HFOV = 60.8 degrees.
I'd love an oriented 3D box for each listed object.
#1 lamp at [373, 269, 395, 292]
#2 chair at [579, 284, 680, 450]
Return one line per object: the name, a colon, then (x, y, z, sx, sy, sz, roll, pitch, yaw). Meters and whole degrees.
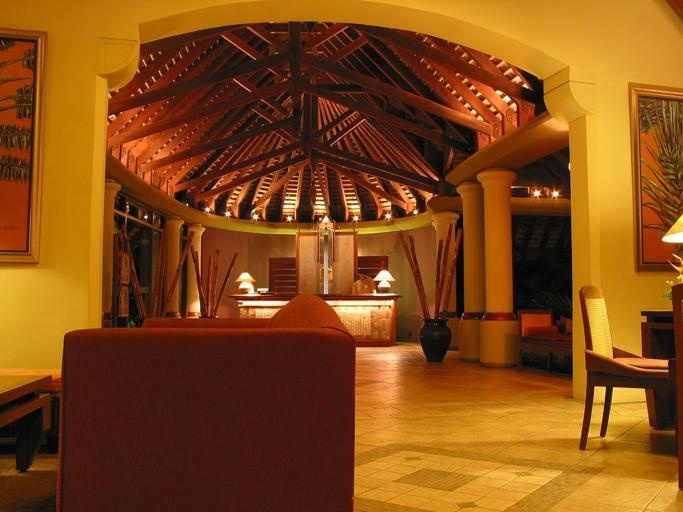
lamp: (0.974, 0.532, 12.547, 0.567, 0.575, 0.585, -1, 2, -16)
chair: (1.933, 0.733, 3.958, 0.563, 1.072, 0.937, -2, -3, 26)
